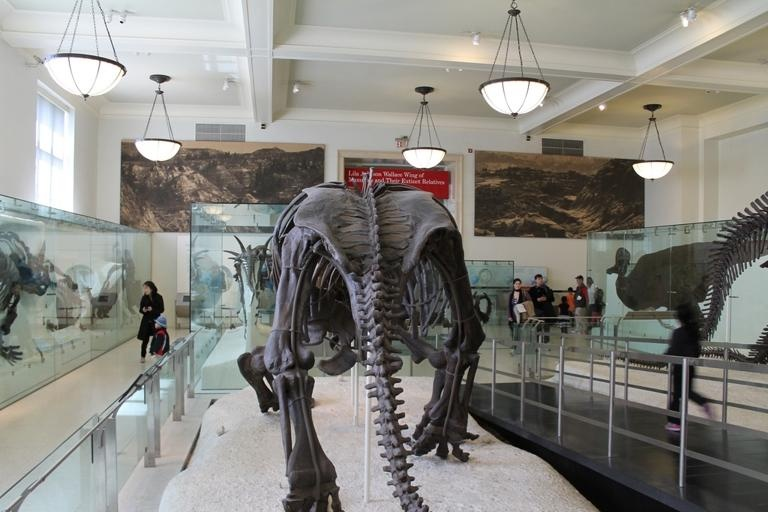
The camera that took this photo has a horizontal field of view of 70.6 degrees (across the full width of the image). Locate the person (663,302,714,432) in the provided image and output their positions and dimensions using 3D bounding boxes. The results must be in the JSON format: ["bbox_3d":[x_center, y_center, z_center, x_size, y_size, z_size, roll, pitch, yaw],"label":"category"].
[{"bbox_3d":[3.546,1.312,6.344,0.496,1.089,1.339,-2,0,30],"label":"person"}]

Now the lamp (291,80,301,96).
[{"bbox_3d":[-2.005,-3.906,12.520,0.169,0.278,0.284,0,-3,-5],"label":"lamp"}]

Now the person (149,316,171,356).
[{"bbox_3d":[-4.358,1.594,10.533,0.311,0.854,0.857,-2,1,-24],"label":"person"}]

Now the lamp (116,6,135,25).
[{"bbox_3d":[-4.620,-4.279,9.654,0.276,0.263,0.083,-2,-15,-5],"label":"lamp"}]

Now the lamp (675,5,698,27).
[{"bbox_3d":[5.363,-4.273,9.593,0.217,0.275,0.548,-4,16,26],"label":"lamp"}]
